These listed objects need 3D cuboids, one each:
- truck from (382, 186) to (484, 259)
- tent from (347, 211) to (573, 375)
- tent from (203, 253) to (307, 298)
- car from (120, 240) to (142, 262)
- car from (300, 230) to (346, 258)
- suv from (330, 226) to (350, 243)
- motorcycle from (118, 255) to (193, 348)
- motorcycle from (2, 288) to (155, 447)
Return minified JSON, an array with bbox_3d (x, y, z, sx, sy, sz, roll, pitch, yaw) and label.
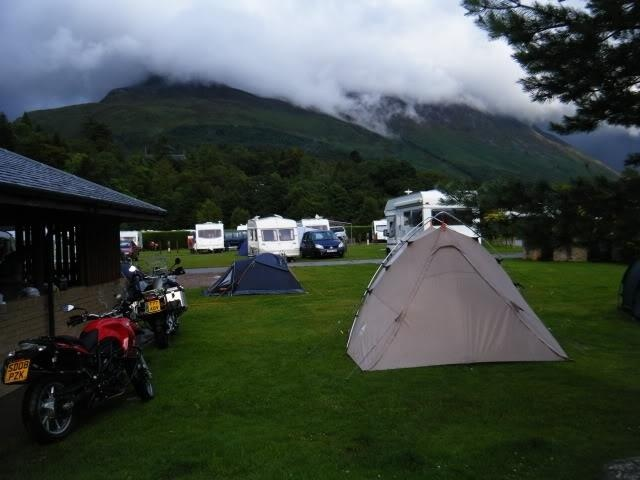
[{"bbox_3d":[5.457,-0.768,24.339,3.354,2.871,5.503,-2,10,-12],"label":"truck"},{"bbox_3d":[2.123,0.843,9.222,2.698,1.796,2.750,-3,2,0],"label":"tent"},{"bbox_3d":[-2.015,0.866,16.486,3.168,1.046,2.802,5,18,-12],"label":"tent"},{"bbox_3d":[-12.267,0.636,31.906,1.335,1.175,2.339,-1,-2,-1],"label":"car"},{"bbox_3d":[0.068,0.290,31.487,1.737,1.729,3.270,-4,5,-27],"label":"car"},{"bbox_3d":[1.871,-0.706,47.477,1.190,1.124,2.037,-3,-2,-1],"label":"suv"},{"bbox_3d":[-3.329,1.216,10.368,0.917,1.321,2.380,-4,2,-17],"label":"motorcycle"},{"bbox_3d":[-3.072,1.754,6.298,0.419,1.265,1.722,0,5,27],"label":"motorcycle"}]
